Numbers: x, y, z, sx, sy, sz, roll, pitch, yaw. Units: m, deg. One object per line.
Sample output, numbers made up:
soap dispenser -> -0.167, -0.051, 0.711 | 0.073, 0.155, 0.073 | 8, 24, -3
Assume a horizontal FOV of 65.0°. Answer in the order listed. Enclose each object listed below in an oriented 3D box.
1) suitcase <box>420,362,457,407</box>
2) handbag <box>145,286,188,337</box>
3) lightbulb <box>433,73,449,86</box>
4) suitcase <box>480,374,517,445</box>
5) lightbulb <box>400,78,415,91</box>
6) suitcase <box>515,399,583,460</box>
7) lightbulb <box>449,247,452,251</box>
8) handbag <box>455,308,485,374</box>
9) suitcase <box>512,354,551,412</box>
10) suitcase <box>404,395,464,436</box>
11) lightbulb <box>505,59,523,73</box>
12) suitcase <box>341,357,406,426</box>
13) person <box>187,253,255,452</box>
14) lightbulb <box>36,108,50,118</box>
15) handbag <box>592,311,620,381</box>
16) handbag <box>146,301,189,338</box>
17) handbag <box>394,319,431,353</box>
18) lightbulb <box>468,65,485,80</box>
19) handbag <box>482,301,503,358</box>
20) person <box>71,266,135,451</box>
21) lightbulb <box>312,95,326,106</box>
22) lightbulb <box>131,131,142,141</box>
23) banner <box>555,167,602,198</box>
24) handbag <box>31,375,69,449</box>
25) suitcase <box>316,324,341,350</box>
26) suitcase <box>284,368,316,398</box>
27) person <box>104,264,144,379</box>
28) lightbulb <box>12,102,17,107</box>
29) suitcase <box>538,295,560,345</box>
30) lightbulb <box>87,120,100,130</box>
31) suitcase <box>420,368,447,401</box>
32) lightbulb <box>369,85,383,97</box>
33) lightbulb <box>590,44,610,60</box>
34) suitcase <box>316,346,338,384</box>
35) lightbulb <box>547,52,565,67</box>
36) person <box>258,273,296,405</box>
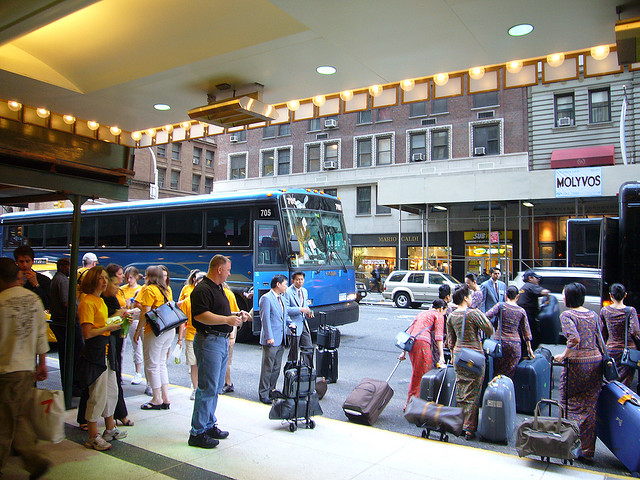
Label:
suitcase -> 1.903, 2.339, 8.069 | 0.600, 0.817, 0.277 | 24, -27, -29
handbag -> -2.373, 1.175, 7.672 | 0.336, 0.424, 0.596 | -1, -3, 31
lightbulb -> 1.852, -2.462, 7.681 | 0.162, 0.088, 0.152 | 0, -8, -21
suitcase -> 2.603, 2.498, 7.332 | 0.511, 0.860, 0.970 | -1, -4, 27
lightbulb -> 1.378, -2.444, 7.897 | 0.171, 0.084, 0.160 | 5, -16, -17
suitcase -> 2.977, 2.482, 6.604 | 0.812, 0.672, 0.422 | -3, -7, 24
lightbulb -> 7.710, 0.493, 29.774 | 0.114, 0.137, 0.204 | 3, 2, 45
handbag -> 2.234, 1.522, 7.613 | 0.332, 0.929, 0.402 | 1, -2, -9
suitcase -> 3.449, 2.357, 8.249 | 0.423, 0.996, 1.178 | 0, 0, 40
suitcase -> 1.680, 2.568, 7.352 | 0.929, 0.435, 0.370 | 0, -17, 39
lightbulb -> 2.775, -2.486, 7.190 | 0.179, 0.108, 0.168 | -4, 2, -10
suitcase -> 0.754, 2.603, 8.073 | 0.453, 0.603, 0.806 | -2, -3, 40
person -> -1.476, 1.507, 6.904 | 0.641, 2.592, 0.519 | 1, -3, -27
lightbulb -> -4.847, -2.222, 8.799 | 0.057, 0.150, 0.211 | -1, -2, 23
handbag -> 3.977, 1.458, 6.976 | 0.275, 0.886, 0.411 | -2, -3, 42
handbag -> -2.486, 1.148, 7.870 | 0.618, 0.238, 0.744 | 5, 3, -18
handbag -> 1.480, 1.654, 8.439 | 0.558, 0.449, 0.385 | 10, -10, -19
lightbulb -> 2.317, -2.459, 7.382 | 0.178, 0.101, 0.170 | -5, 7, -32
handbag -> 2.784, 1.476, 8.109 | 0.257, 0.876, 0.617 | -1, -3, 31
person -> -2.898, 1.544, 6.727 | 0.626, 2.391, 0.432 | 2, -3, -38
lightbulb -> -0.013, -2.428, 8.730 | 0.186, 0.158, 0.065 | -2, 17, 13
lightbulb -> -3.766, -2.141, 10.312 | 0.157, 0.173, 0.191 | 0, -2, -7
banner -> 11.327, -2.519, 21.966 | 1.562, 1.027, 0.055 | 1, -2, 22
handbag -> -3.180, 2.036, 5.878 | 0.595, 0.528, 0.197 | -18, -18, 41
suitcase -> 0.175, 1.868, 9.874 | 0.434, 0.401, 0.431 | 8, 2, 26
suitcase -> -0.316, 2.110, 7.471 | 0.525, 0.444, 0.275 | 2, 2, -25
person -> -2.977, 1.378, 7.451 | 0.510, 1.514, 0.461 | 16, 25, -26
lightbulb -> -5.109, -2.273, 8.418 | 0.031, 0.070, 0.084 | -1, -3, 33
suitcase -> 4.637, 1.611, 10.196 | 0.362, 1.034, 0.763 | -1, -2, 25
lightbulb -> -4.286, -2.170, 9.533 | 0.083, 0.131, 0.245 | -1, -2, 25
suitcase -> 1.845, 2.377, 8.336 | 0.229, 0.514, 0.604 | 5, 8, 23
lightbulb -> 0.912, -2.444, 8.194 | 0.166, 0.152, 0.153 | 20, 34, -3
lightbulb -> 3.713, -2.487, 6.655 | 0.174, 0.105, 0.168 | 1, 0, -40
suitcase -> 0.121, 2.433, 9.865 | 0.398, 0.743, 0.286 | 0, -2, 1
lightbulb -> 3.241, -2.482, 6.918 | 0.189, 0.114, 0.177 | -2, 1, -4
person -> -0.768, 1.711, 8.822 | 0.615, 2.202, 0.374 | 1, -3, -29
